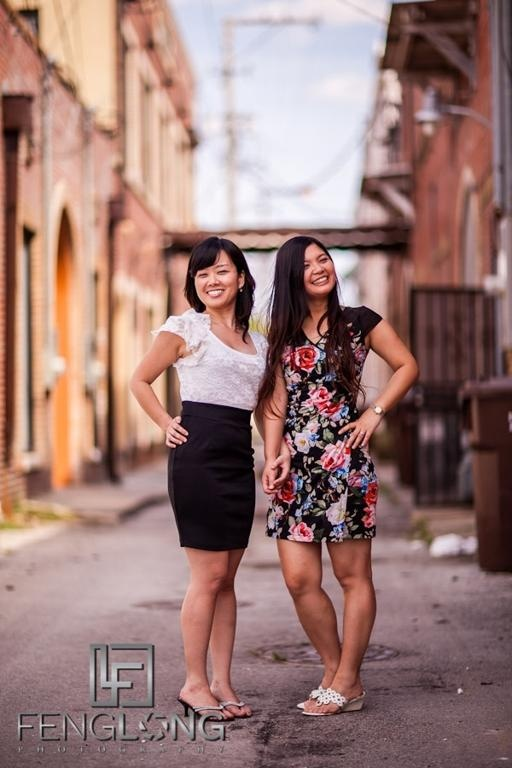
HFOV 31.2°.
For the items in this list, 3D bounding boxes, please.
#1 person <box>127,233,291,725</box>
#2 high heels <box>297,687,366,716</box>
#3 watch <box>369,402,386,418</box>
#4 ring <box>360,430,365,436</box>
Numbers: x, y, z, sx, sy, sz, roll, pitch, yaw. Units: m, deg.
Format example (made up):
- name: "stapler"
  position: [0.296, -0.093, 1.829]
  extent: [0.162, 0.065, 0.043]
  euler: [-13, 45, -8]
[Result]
- name: "person"
  position: [-0.157, 0.308, 3.215]
  extent: [0.471, 1.698, 0.381]
  euler: [1, -2, -32]
- name: "high heels"
  position: [0.281, 1.098, 3.174]
  extent: [0.161, 0.052, 0.102]
  euler: [2, -6, -10]
- name: "watch"
  position: [0.431, 0.102, 3.252]
  extent: [0.037, 0.057, 0.053]
  euler: [-47, -7, -19]
- name: "ring"
  position: [0.372, 0.170, 3.173]
  extent: [0.020, 0.017, 0.019]
  euler: [1, -6, 0]
